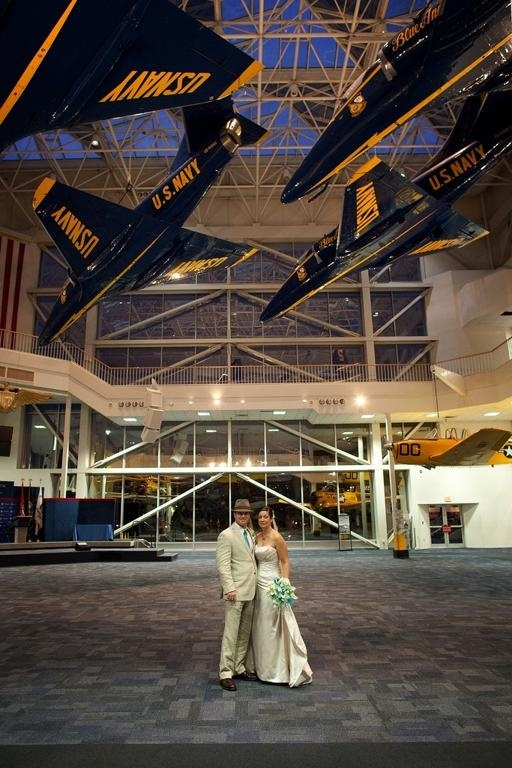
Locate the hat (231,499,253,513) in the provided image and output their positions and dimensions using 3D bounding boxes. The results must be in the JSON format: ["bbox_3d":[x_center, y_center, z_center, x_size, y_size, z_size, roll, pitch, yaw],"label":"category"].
[{"bbox_3d":[-0.083,0.939,3.987,0.226,0.112,0.291,1,-17,-4],"label":"hat"}]

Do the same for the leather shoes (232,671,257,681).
[{"bbox_3d":[-0.078,2.117,3.699,0.171,0.070,0.062,-1,-7,5],"label":"leather shoes"}]

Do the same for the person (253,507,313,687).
[{"bbox_3d":[0.165,1.542,3.794,0.460,1.200,0.509,-1,-14,-2],"label":"person"}]

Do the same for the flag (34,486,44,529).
[{"bbox_3d":[-7.427,4.469,17.456,0.266,1.168,1.136,4,-15,-23],"label":"flag"}]

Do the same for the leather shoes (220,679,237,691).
[{"bbox_3d":[-0.183,2.037,3.457,0.107,0.060,0.118,-1,-13,-4],"label":"leather shoes"}]

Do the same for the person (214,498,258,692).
[{"bbox_3d":[-0.129,1.503,3.751,0.295,1.262,0.472,-1,-14,-3],"label":"person"}]

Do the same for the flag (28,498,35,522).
[{"bbox_3d":[-8.169,4.534,18.546,0.179,0.795,2.606,5,-15,-24],"label":"flag"}]
